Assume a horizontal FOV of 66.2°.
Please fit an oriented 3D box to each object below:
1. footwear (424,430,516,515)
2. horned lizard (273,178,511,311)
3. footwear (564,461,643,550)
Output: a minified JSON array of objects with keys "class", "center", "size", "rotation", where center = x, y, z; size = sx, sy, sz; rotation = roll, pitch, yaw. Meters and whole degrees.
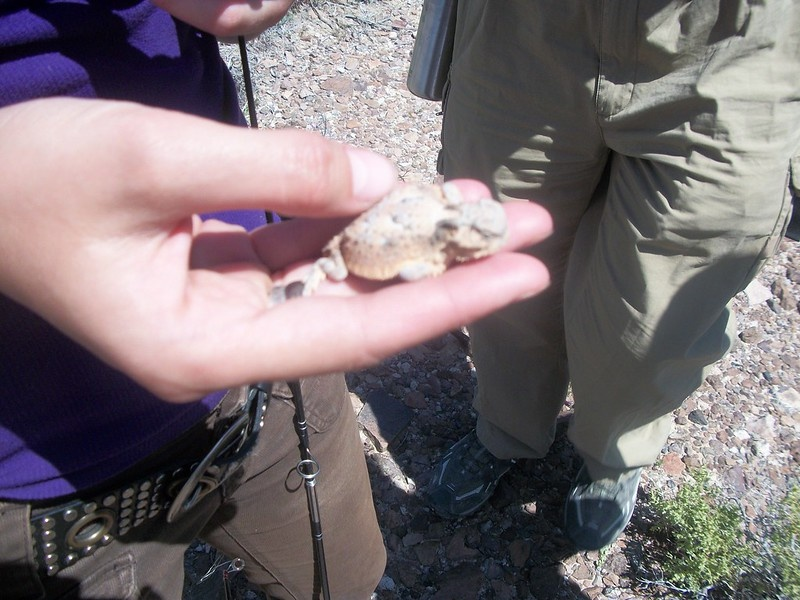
[{"class":"footwear","center":[0.309,0.827,2.861],"size":[0.255,0.159,0.446],"rotation":[36,68,19]},{"class":"horned lizard","center":[-0.002,-0.170,1.894],"size":[0.497,0.197,0.414],"rotation":[-2,55,-6]},{"class":"footwear","center":[0.888,0.874,2.705],"size":[0.190,0.249,0.564],"rotation":[9,33,21]}]
